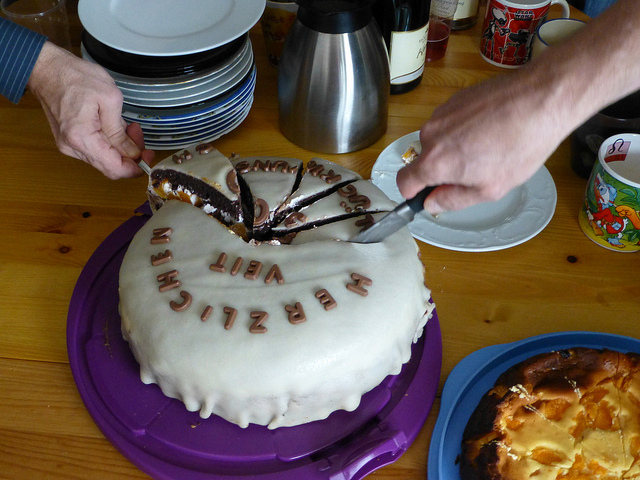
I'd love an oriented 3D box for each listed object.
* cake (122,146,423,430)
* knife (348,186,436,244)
[{"bbox_3d":[-0.071,0.042,1.158,0.570,0.188,0.639,-9,48,-7],"label":"cake"},{"bbox_3d":[0.129,-0.044,1.108,0.031,0.230,0.022,31,52,-21],"label":"knife"}]
